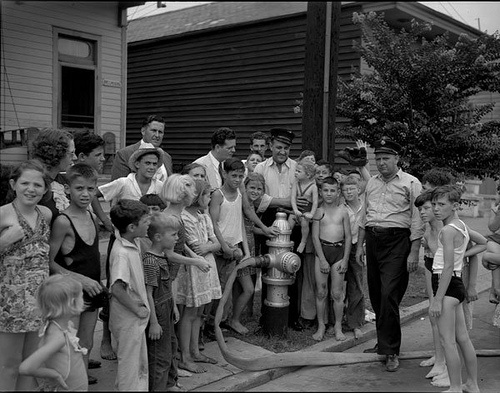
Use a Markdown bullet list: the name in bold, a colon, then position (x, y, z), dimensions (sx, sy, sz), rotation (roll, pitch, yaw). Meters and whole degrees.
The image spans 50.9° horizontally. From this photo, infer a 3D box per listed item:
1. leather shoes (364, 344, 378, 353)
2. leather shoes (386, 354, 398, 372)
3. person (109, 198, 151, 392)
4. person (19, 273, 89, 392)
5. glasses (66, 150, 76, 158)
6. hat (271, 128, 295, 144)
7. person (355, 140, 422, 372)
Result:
- **leather shoes**: position (1.430, 1.761, 6.108), dimensions (0.077, 0.099, 0.260), rotation (-6, -13, 44)
- **leather shoes**: position (1.537, 1.782, 5.652), dimensions (0.129, 0.138, 0.182), rotation (0, 2, 12)
- **person**: position (-1.010, 0.848, 4.459), dimensions (0.358, 1.656, 0.329), rotation (-1, 3, -15)
- **person**: position (-1.460, 1.046, 3.912), dimensions (0.465, 0.887, 0.322), rotation (-1, 3, -23)
- **glasses**: position (-1.604, -0.379, 4.726), dimensions (0.049, 0.049, 0.037), rotation (-12, 12, 4)
- **hat**: position (0.382, -0.785, 6.563), dimensions (0.202, 0.099, 0.238), rotation (14, 4, -21)
- **person**: position (1.530, 0.597, 5.956), dimensions (0.553, 2.474, 0.728), rotation (-2, 3, -34)
